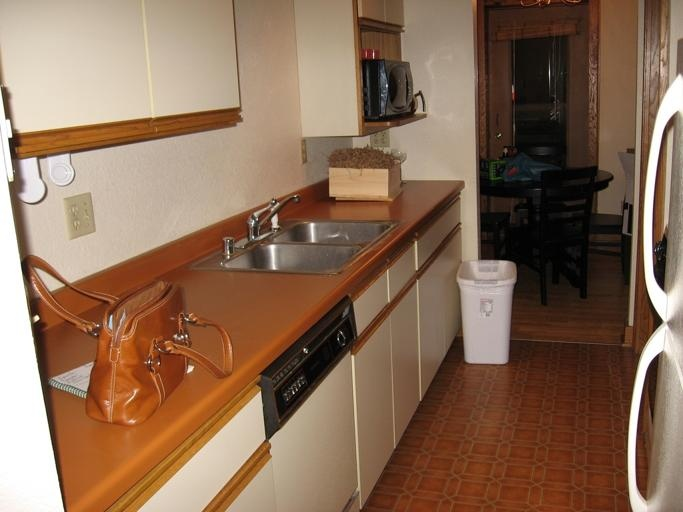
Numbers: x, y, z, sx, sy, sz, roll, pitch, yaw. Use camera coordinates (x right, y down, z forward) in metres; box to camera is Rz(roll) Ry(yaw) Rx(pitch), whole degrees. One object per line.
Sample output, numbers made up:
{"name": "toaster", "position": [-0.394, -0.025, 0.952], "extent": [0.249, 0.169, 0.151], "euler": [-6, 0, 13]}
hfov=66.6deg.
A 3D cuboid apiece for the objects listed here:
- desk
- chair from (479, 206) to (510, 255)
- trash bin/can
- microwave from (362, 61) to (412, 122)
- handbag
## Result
{"name": "desk", "position": [1.746, -0.536, 4.502], "extent": [1.068, 0.336, 0.882], "euler": [-16, 19, -43]}
{"name": "chair", "position": [1.401, -0.218, 4.788], "extent": [0.272, 0.406, 0.398], "euler": [4, 24, 21]}
{"name": "trash bin/can", "position": [0.994, 0.382, 3.592], "extent": [0.373, 0.636, 0.427], "euler": [1, 14, 18]}
{"name": "microwave", "position": [0.259, -0.988, 3.107], "extent": [0.203, 0.263, 0.383], "euler": [1, 17, 20]}
{"name": "handbag", "position": [-0.458, 0.179, 1.232], "extent": [0.429, 0.312, 0.348], "euler": [11, 15, 5]}
